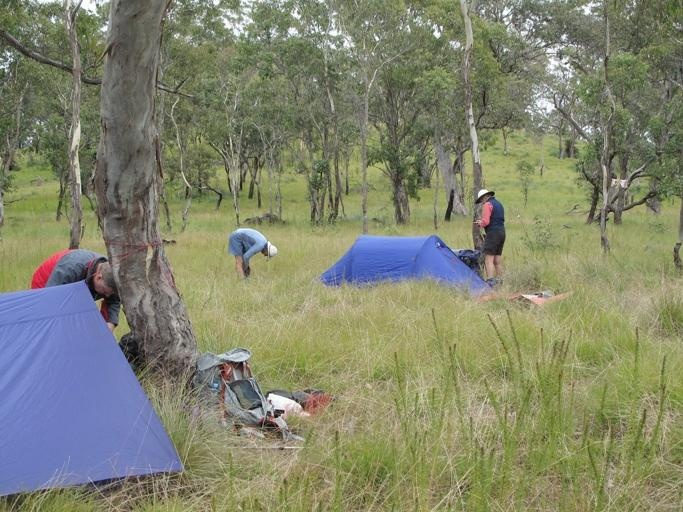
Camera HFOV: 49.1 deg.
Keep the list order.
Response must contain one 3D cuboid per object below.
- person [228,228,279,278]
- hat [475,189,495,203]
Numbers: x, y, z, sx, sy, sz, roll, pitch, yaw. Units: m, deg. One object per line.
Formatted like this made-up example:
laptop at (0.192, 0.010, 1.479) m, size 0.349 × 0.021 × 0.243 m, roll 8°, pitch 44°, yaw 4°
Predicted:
person at (-1.978, -0.133, 16.367) m, size 0.940 × 1.207 × 0.886 m, roll -5°, pitch 33°, yaw -15°
hat at (2.899, -1.291, 15.417) m, size 0.309 × 0.145 × 0.303 m, roll -40°, pitch -22°, yaw 26°
